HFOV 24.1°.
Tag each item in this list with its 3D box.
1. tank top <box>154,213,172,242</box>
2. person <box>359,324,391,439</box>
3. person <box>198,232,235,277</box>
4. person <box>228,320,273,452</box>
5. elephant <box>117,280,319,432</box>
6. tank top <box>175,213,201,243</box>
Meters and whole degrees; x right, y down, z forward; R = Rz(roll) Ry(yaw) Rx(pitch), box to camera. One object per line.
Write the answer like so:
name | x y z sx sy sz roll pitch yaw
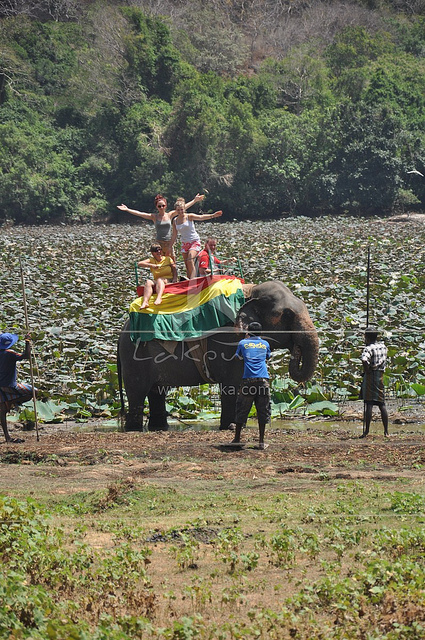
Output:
tank top | -0.532 -1.009 10.844 0.181 0.320 0.271 -1 2 -2
person | 1.614 0.617 9.837 0.300 1.061 0.416 -1 3 12
person | 0.015 -0.666 10.533 0.322 0.414 0.863 -1 2 0
person | 0.358 0.602 9.503 0.413 1.182 1.005 -1 2 3
elephant | 0.263 0.374 10.598 2.448 1.651 1.174 -4 3 9
tank top | -0.274 -1.000 10.921 0.267 0.300 0.218 -1 2 -3
